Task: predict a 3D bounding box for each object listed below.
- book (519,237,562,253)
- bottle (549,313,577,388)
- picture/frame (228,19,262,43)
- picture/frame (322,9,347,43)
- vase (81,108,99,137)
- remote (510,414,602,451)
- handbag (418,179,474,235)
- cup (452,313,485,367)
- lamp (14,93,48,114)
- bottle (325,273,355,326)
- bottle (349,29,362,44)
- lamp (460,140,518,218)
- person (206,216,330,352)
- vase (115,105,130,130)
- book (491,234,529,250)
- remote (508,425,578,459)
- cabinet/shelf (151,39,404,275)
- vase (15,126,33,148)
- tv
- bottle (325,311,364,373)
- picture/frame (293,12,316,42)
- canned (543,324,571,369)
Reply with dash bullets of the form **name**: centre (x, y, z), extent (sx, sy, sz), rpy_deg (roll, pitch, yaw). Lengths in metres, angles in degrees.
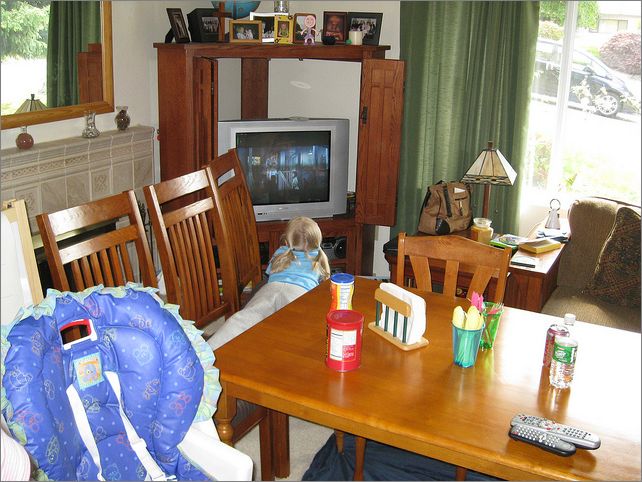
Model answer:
- **book**: centre (1.425, 0.028, 3.309), extent (0.306, 0.052, 0.123), rpy_deg (-9, 21, -27)
- **bottle**: centre (0.836, 0.396, 1.759), extent (0.078, 0.162, 0.171), rpy_deg (11, 21, 29)
- **picture/frame**: centre (-0.565, -1.589, 3.896), extent (0.171, 0.135, 0.012), rpy_deg (-3, 10, -3)
- **picture/frame**: centre (0.111, -1.664, 4.000), extent (0.174, 0.257, 0.026), rpy_deg (3, -10, -2)
- **vase**: centre (-1.627, -0.827, 3.621), extent (0.107, 0.181, 0.206), rpy_deg (-7, 20, -22)
- **remote**: centre (0.691, 0.552, 1.503), extent (0.207, 0.055, 0.098), rpy_deg (14, 16, 22)
- **handbag**: centre (0.924, -0.244, 3.649), extent (0.413, 0.369, 0.220), rpy_deg (-13, 24, -28)
- **cup**: centre (0.496, 0.380, 1.837), extent (0.106, 0.146, 0.105), rpy_deg (-12, -2, 0)
- **lamp**: centre (-1.838, -0.871, 3.266), extent (0.111, 0.067, 0.118), rpy_deg (7, 19, 10)
- **bottle**: centre (0.088, 0.217, 2.116), extent (0.094, 0.153, 0.091), rpy_deg (1, 21, 0)
- **bottle**: centre (0.276, -1.584, 3.993), extent (0.105, 0.111, 0.093), rpy_deg (-8, 25, -18)
- **lamp**: centre (1.145, -0.398, 3.522), extent (0.319, 0.453, 0.279), rpy_deg (11, 21, 27)
- **person**: centre (-0.208, 0.253, 2.867), extent (0.386, 0.552, 1.240), rpy_deg (7, 23, 14)
- **vase**: centre (-1.490, -0.924, 3.861), extent (0.096, 0.177, 0.159), rpy_deg (-7, 20, -21)
- **book**: centre (1.235, -0.008, 3.361), extent (0.205, 0.055, 0.209), rpy_deg (14, 27, 37)
- **remote**: centre (0.635, 0.560, 1.476), extent (0.171, 0.043, 0.074), rpy_deg (14, 30, 37)
- **cabinet/shelf**: centre (-0.281, -0.626, 3.842), extent (1.710, 1.848, 0.921), rpy_deg (0, 19, 0)
- **vase**: centre (-1.838, -0.638, 3.184), extent (0.090, 0.136, 0.141), rpy_deg (-11, 22, -32)
- **tv**: centre (-0.331, -0.662, 4.369), extent (1.075, 0.954, 0.593), rpy_deg (-4, 28, -16)
- **bottle**: centre (0.086, 0.344, 1.851), extent (0.160, 0.204, 0.169), rpy_deg (0, 15, 0)
- **picture/frame**: centre (-0.128, -1.655, 3.995), extent (0.217, 0.315, 0.040), rpy_deg (3, 25, 6)
- **canned**: centre (0.809, 0.367, 1.763), extent (0.081, 0.165, 0.086), rpy_deg (5, 22, 13)
